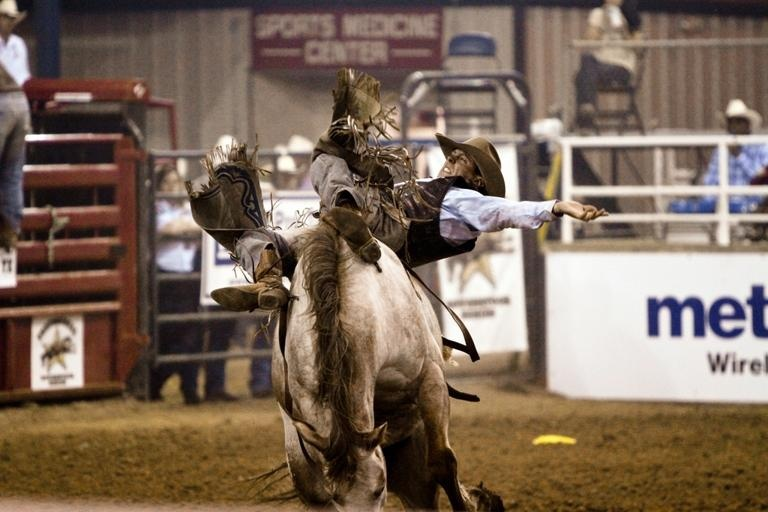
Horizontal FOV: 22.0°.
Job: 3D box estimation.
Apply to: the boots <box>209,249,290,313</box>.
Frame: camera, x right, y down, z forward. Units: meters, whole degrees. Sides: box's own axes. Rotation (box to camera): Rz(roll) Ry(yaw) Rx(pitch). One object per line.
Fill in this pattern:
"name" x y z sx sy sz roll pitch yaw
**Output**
"boots" -1.184 0.272 18.623 0.890 0.731 0.381 1 -29 -3
